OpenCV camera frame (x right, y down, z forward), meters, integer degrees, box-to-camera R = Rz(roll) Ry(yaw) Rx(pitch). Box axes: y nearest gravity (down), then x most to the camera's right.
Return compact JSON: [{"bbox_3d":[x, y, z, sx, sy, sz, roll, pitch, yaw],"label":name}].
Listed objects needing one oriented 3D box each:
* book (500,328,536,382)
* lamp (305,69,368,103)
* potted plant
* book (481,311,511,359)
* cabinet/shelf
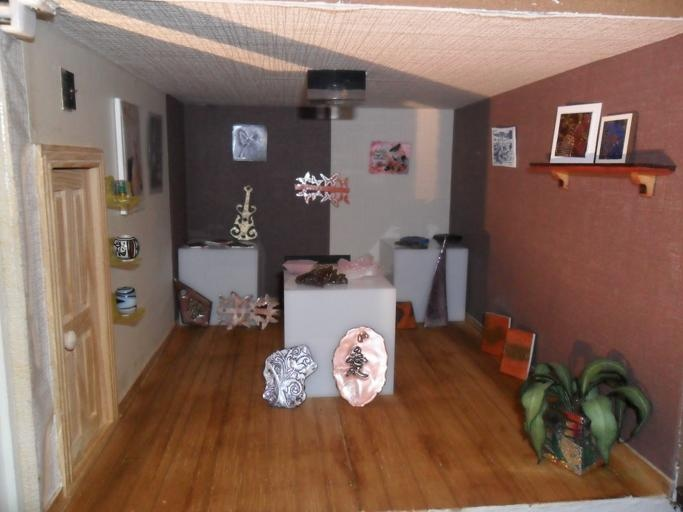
[{"bbox_3d":[1.475,0.815,4.340,0.082,0.355,0.349,9,1,-30],"label":"book"},{"bbox_3d":[-0.038,-1.303,3.960,0.450,0.218,0.207,1,12,2],"label":"lamp"},{"bbox_3d":[1.471,0.955,3.298,0.685,0.486,0.690,-7,14,-21],"label":"potted plant"},{"bbox_3d":[1.415,0.727,4.735,0.054,0.497,0.354,5,5,-34],"label":"book"},{"bbox_3d":[-1.564,-0.002,3.733,0.312,0.861,0.212,0,4,-23],"label":"cabinet/shelf"}]
